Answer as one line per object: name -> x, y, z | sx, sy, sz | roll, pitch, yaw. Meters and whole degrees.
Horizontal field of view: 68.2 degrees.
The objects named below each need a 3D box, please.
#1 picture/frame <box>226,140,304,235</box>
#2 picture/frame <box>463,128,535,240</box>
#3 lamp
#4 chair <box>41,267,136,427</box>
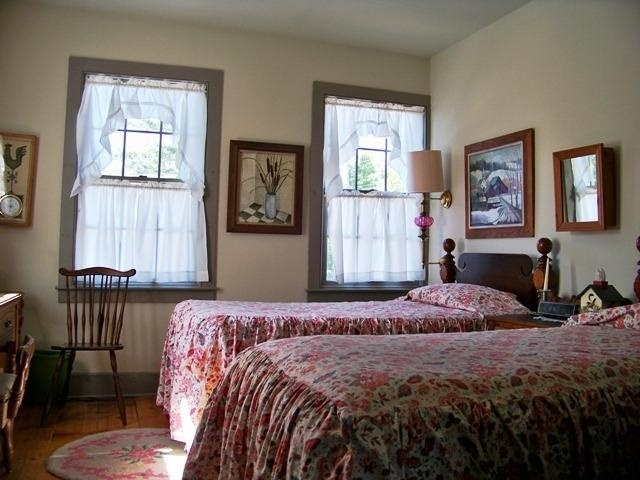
picture/frame -> -0.521, -0.465, 4.208 | 0.731, 0.974, 0.071 | 3, -1, -20
picture/frame -> 1.464, -0.446, 3.812 | 0.040, 1.087, 0.838 | 2, -4, -30
lamp -> 1.030, -0.282, 4.409 | 0.343, 1.112, 0.341 | -2, 8, 7
chair -> -1.817, 0.825, 3.770 | 0.667, 1.205, 0.620 | 4, 0, -14
